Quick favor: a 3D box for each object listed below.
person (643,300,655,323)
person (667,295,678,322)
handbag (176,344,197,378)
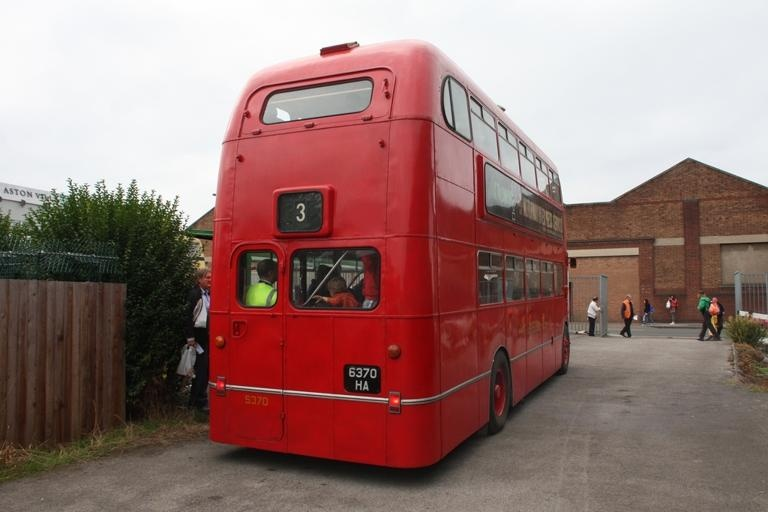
[{"bbox_3d":[17.924,3.702,38.525,0.555,1.509,1.115,0,1,26],"label":"person"},{"bbox_3d":[19.312,3.559,38.011,0.501,1.719,1.090,1,1,27],"label":"person"},{"bbox_3d":[-3.621,1.917,10.486,0.308,0.623,0.487,0,1,18],"label":"handbag"}]
